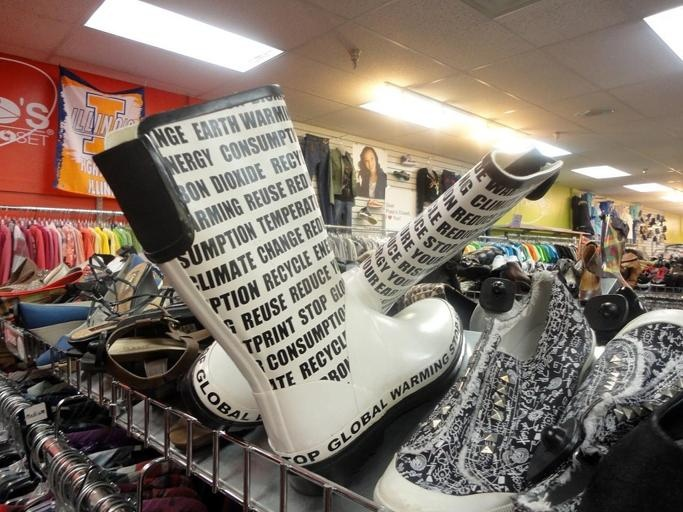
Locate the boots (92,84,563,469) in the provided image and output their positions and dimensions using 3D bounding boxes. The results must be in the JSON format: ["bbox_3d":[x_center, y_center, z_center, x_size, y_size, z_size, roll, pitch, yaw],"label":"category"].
[{"bbox_3d":[0.057,-0.036,0.761,0.350,0.429,0.682,-3,13,45],"label":"boots"}]

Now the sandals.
[{"bbox_3d":[-0.381,0.127,0.926,0.258,0.099,0.326,-11,13,20],"label":"sandals"}]
